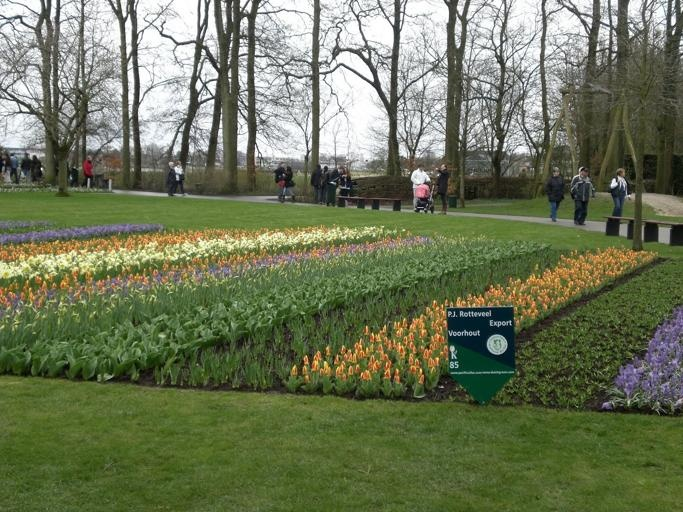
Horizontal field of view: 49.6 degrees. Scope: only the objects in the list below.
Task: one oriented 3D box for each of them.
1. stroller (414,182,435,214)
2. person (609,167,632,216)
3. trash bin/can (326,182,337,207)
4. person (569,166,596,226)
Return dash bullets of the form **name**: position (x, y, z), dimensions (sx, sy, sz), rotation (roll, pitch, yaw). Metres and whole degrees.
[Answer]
- **stroller**: position (3.159, -2.222, 28.202), dimensions (0.680, 1.205, 1.089), rotation (2, 13, 17)
- **person**: position (8.435, -1.906, 22.442), dimensions (0.501, 1.515, 1.329), rotation (6, 14, 21)
- **trash bin/can**: position (-0.448, -2.610, 30.748), dimensions (0.290, 0.988, 0.467), rotation (12, 16, 43)
- **person**: position (7.261, -1.797, 22.468), dimensions (0.589, 1.744, 1.458), rotation (5, 14, 17)
